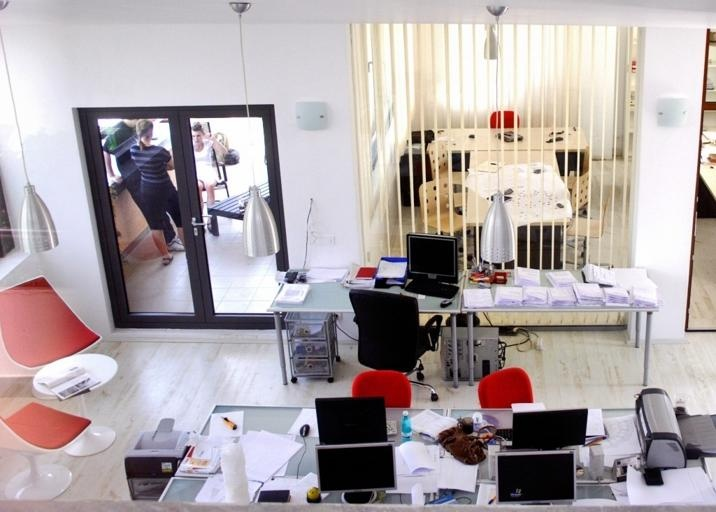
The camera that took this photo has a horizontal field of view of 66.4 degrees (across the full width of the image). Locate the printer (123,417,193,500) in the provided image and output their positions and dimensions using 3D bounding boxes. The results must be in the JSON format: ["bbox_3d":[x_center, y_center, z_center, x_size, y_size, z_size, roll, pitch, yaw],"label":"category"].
[{"bbox_3d":[-1.446,1.482,3.949,0.417,0.361,0.517,1,12,-20],"label":"printer"}]

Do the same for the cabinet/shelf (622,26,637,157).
[{"bbox_3d":[3.780,-2.284,7.726,0.209,1.945,0.378,2,16,33],"label":"cabinet/shelf"}]

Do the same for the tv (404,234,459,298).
[{"bbox_3d":[0.808,0.029,5.658,0.571,0.540,0.350,6,18,26],"label":"tv"}]

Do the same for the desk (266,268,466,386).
[{"bbox_3d":[0.087,0.364,5.690,2.081,1.003,1.072,0,25,2],"label":"desk"}]

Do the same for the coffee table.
[{"bbox_3d":[-2.558,1.347,4.888,0.618,0.587,0.590,6,32,9],"label":"coffee table"}]

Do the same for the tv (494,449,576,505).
[{"bbox_3d":[1.035,1.289,3.184,0.322,0.222,0.084,-1,11,1],"label":"tv"}]

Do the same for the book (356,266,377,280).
[{"bbox_3d":[0.079,0.192,5.827,0.134,0.033,0.139,4,31,8],"label":"book"}]

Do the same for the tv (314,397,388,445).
[{"bbox_3d":[-0.041,1.045,3.687,0.457,0.319,0.404,1,-1,0],"label":"tv"}]

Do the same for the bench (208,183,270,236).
[{"bbox_3d":[-1.421,-0.510,6.157,0.465,0.246,0.670,21,50,24],"label":"bench"}]

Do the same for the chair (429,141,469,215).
[{"bbox_3d":[1.386,-1.225,8.079,0.386,0.537,0.373,24,42,27],"label":"chair"}]

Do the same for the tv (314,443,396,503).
[{"bbox_3d":[-0.013,1.317,3.327,0.603,0.437,0.226,-2,29,1],"label":"tv"}]

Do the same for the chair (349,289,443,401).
[{"bbox_3d":[0.379,0.793,5.279,0.829,1.180,0.834,2,17,16],"label":"chair"}]
